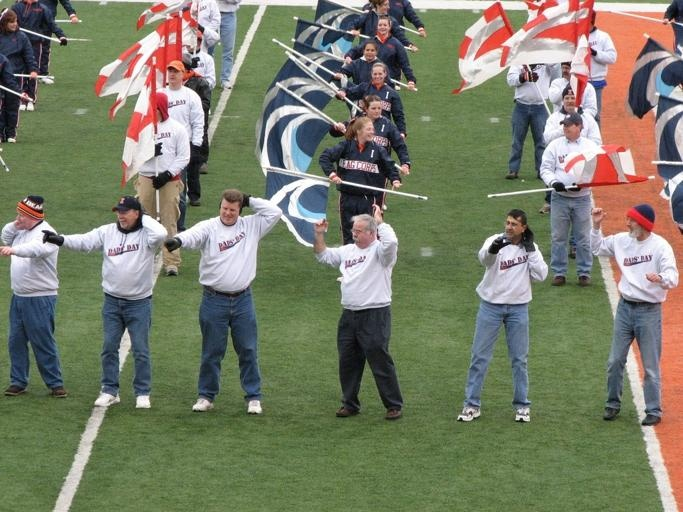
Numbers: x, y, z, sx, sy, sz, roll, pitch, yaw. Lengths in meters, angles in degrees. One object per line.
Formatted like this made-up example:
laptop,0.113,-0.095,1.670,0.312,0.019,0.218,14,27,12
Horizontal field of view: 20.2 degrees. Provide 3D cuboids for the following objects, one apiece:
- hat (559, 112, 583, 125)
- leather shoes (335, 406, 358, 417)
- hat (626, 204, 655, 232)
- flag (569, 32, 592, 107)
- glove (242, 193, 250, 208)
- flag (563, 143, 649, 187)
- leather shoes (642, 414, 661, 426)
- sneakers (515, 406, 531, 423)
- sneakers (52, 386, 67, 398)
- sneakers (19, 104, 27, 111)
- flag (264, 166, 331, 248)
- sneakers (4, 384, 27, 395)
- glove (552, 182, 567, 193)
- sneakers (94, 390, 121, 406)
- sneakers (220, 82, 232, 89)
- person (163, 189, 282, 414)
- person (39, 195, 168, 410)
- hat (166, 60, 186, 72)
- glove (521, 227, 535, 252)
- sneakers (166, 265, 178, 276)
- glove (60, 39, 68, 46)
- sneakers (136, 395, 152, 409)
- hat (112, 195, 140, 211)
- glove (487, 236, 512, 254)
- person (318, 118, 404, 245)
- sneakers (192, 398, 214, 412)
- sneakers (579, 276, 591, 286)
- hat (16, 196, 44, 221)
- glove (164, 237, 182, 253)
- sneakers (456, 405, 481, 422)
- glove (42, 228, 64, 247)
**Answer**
hat,3.241,-1.932,27.126,0.279,0.124,0.183,-2,11,-11
leather shoes,0.054,2.006,24.516,0.114,0.115,0.301,3,-5,39
hat,3.767,-0.464,24.211,0.322,0.349,0.197,0,6,-2
flag,3.467,-2.692,27.944,0.261,1.053,0.819,0,6,7
glove,-1.223,-0.705,24.366,0.113,0.131,0.130,1,-4,-27
flag,3.536,-1.219,26.231,0.263,0.554,1.229,-6,8,-44
leather shoes,3.903,2.095,24.303,0.290,0.103,0.102,4,-12,-42
sneakers,2.283,2.026,24.345,0.200,0.185,0.471,-1,-5,12
sneakers,-3.621,1.763,24.632,0.106,0.084,0.219,-1,-2,-28
sneakers,-5.687,-2.641,34.220,0.153,0.096,0.138,2,-5,-9
flag,-0.632,-0.676,26.872,0.177,1.036,1.228,-22,-24,39
sneakers,-4.200,1.743,24.686,0.107,0.104,0.275,13,3,41
glove,3.034,-0.962,26.913,0.187,0.135,0.225,0,6,3
sneakers,-2.989,1.836,24.539,0.147,0.136,0.310,32,18,32
sneakers,-2.159,-3.155,35.650,0.142,0.135,0.329,-5,5,-17
person,-1.456,0.601,24.386,1.269,2.870,0.524,-1,6,-10
person,-2.707,0.608,24.363,0.886,2.697,0.360,-1,6,-7
hat,-2.416,-2.763,27.948,0.171,0.109,0.229,-1,-7,15
glove,2.371,-0.178,24.235,0.146,0.264,0.177,4,-4,-43
sneakers,-2.465,0.222,27.758,0.152,0.138,0.350,0,-5,-6
glove,-5.034,-3.833,34.632,0.156,0.093,0.149,-1,-41,-5
sneakers,-2.534,1.879,24.433,0.205,0.133,0.341,0,0,-8
hat,-2.713,-0.652,24.275,0.311,0.158,0.204,7,0,-32
glove,1.963,-0.148,24.037,0.249,0.090,0.234,10,49,23
person,0.403,-1.137,27.475,1.142,0.674,1.945,-12,-34,-2
sneakers,-1.768,1.922,24.501,0.134,0.114,0.276,-1,-7,15
sneakers,3.490,0.374,27.699,0.151,0.155,0.421,-3,-2,5
hat,-3.947,-0.604,24.465,0.360,0.300,0.318,6,22,-4
glove,-2.145,-0.128,23.897,0.221,0.180,0.307,2,6,24
sneakers,1.623,2.021,24.442,0.335,0.135,0.143,-3,7,-42
glove,-3.629,-0.203,24.125,0.190,0.090,0.221,27,14,30
